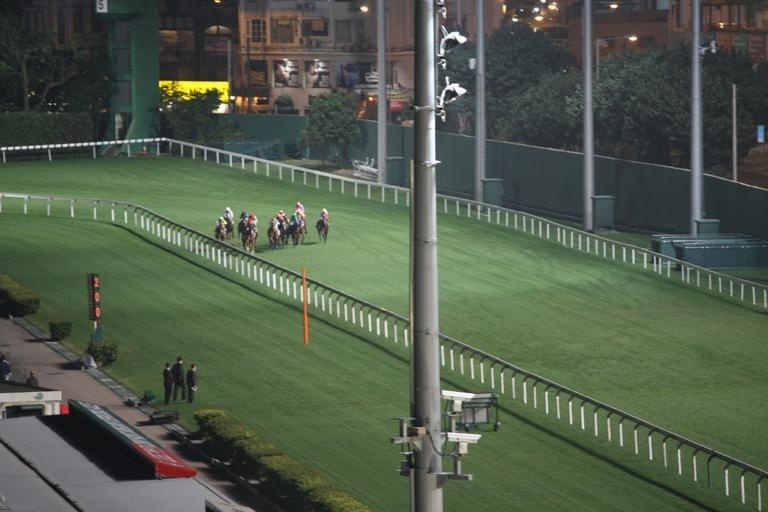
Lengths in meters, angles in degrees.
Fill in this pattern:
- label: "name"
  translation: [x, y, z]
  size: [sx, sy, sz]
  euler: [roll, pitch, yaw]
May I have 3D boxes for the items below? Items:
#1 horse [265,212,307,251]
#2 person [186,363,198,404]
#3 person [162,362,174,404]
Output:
- label: "horse"
  translation: [-5.386, -1.639, 120.195]
  size: [1.117, 1.731, 3.562]
  euler: [3, 10, 5]
- label: "person"
  translation: [-9.429, 6.272, 105.183]
  size: [0.549, 1.959, 1.205]
  euler: [1, 9, -3]
- label: "person"
  translation: [-10.560, 6.326, 105.017]
  size: [0.482, 1.935, 1.047]
  euler: [0, 9, -6]
